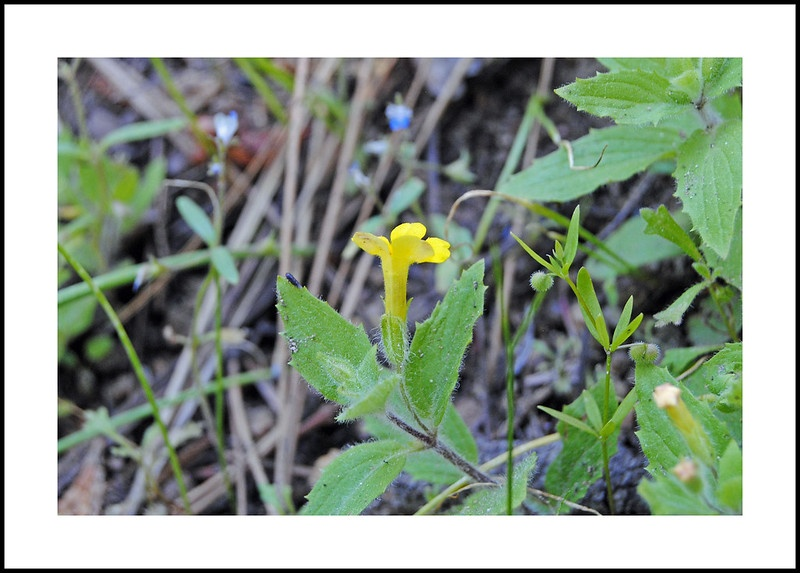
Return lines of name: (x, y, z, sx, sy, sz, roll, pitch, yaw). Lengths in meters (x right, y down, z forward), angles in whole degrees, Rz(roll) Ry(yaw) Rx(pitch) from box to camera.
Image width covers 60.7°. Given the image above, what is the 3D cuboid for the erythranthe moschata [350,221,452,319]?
erythranthe moschata: (0.003, -0.104, 2.779, 0.386, 0.404, 0.369, 6, -9, 34)
